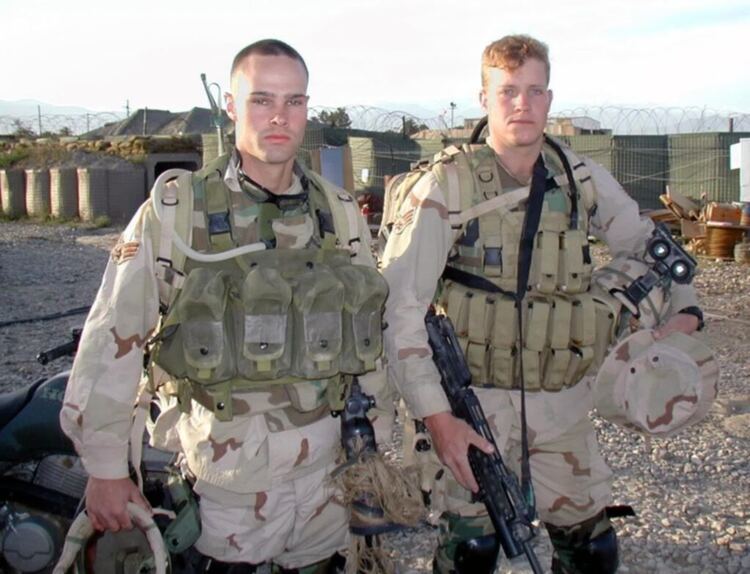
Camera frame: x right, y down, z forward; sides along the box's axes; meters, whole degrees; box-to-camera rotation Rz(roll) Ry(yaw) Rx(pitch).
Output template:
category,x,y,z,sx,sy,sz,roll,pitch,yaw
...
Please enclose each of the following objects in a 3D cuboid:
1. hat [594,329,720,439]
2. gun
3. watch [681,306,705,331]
category,x,y,z,sx,sy,sz,roll,pitch,yaw
hat,1.122,0.390,2.467,0.501,0.421,0.164,-3,11,-4
gun,0.417,0.563,2.401,0.100,1.014,0.343,-13,-6,-15
watch,1.355,0.143,2.657,0.081,0.123,0.064,2,22,23
